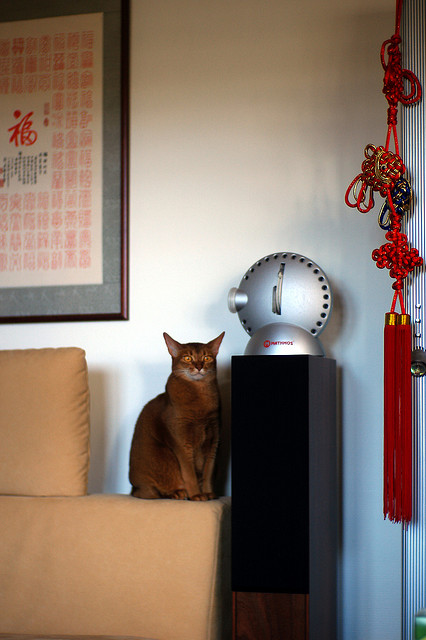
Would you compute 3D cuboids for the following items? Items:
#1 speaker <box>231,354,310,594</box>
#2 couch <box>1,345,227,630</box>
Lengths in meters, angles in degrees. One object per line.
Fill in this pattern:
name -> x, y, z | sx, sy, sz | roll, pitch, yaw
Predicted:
speaker -> 0.109, 0.301, 1.322 | 0.165, 0.421, 0.073 | 2, 0, 6
couch -> -0.225, 0.356, 1.822 | 0.482, 0.719, 0.714 | -1, -10, 6
